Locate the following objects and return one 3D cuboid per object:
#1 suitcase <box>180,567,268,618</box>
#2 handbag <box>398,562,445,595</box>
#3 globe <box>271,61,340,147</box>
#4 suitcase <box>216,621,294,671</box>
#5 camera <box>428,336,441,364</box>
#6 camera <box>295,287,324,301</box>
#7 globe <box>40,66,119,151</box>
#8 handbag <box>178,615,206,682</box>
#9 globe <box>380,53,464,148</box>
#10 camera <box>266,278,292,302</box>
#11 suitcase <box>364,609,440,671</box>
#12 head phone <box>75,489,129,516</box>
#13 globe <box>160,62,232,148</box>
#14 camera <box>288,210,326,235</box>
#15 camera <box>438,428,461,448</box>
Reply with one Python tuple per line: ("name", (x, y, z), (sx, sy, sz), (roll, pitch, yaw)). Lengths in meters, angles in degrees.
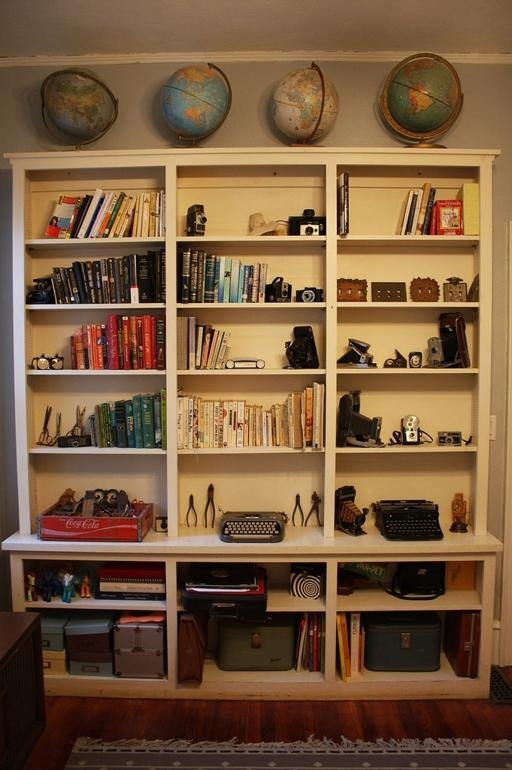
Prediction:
("suitcase", (-0.145, 0.943, 2.845), (0.377, 0.188, 0.263), (0, 7, -3))
("handbag", (0.768, 0.898, 2.941), (0.210, 0.179, 0.097), (1, 7, 3))
("globe", (0.210, -1.254, 2.819), (0.294, 0.322, 0.164), (2, 7, 11))
("suitcase", (-0.004, 1.180, 2.847), (0.326, 0.217, 0.245), (1, 2, -5))
("camera", (0.829, -0.151, 2.957), (0.044, 0.130, 0.123), (-1, 7, -11))
("camera", (0.242, -0.396, 2.853), (0.107, 0.075, 0.073), (-1, -6, 2))
("globe", (-0.817, -1.242, 2.925), (0.361, 0.347, 0.368), (8, 40, -28))
("handbag", (-0.288, 1.165, 2.782), (0.106, 0.267, 0.274), (0, -4, 0))
("globe", (0.771, -1.282, 2.921), (0.370, 0.452, 0.280), (-2, 36, 9))
("camera", (0.095, -0.429, 2.860), (0.117, 0.105, 0.071), (1, 7, 6))
("suitcase", (0.680, 1.180, 2.950), (0.260, 0.182, 0.265), (0, -6, 5))
("head phone", (-0.691, 0.533, 2.937), (0.127, 0.077, 0.167), (2, -5, -2))
("globe", (-0.280, -1.293, 2.879), (0.329, 0.379, 0.322), (19, 21, 13))
("camera", (0.234, -0.719, 2.823), (0.190, 0.152, 0.111), (0, 0, 2))
("camera", (0.901, 0.246, 2.954), (0.109, 0.061, 0.221), (3, 8, 18))
